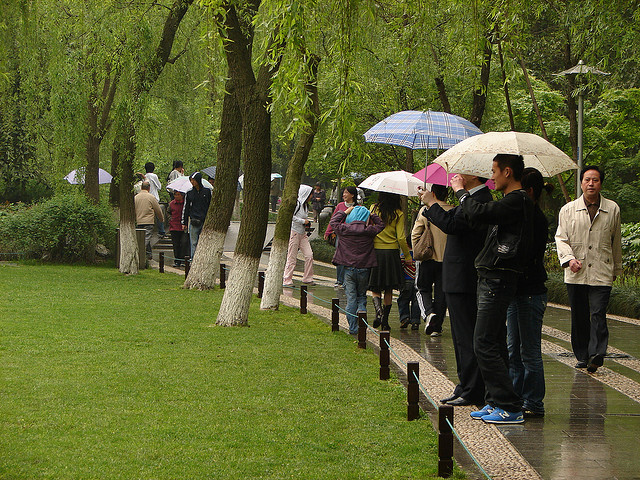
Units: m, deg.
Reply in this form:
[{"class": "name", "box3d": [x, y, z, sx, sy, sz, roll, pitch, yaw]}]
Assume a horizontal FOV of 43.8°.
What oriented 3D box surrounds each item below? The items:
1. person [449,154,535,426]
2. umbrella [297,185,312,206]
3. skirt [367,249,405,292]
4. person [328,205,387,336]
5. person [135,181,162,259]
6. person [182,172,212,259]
[{"class": "person", "box3d": [1.931, 0.522, 8.581, 0.947, 2.809, 0.650, 6, 0, -22]}, {"class": "umbrella", "box3d": [-0.370, -1.005, 17.922, 0.410, 0.431, 0.313, 6, 6, 35]}, {"class": "skirt", "box3d": [1.042, 0.432, 12.547, 0.724, 0.830, 0.539, -1, 7, -1]}, {"class": "person", "box3d": [0.581, 0.445, 12.229, 0.848, 1.910, 0.477, 0, -3, 1]}, {"class": "person", "box3d": [-4.762, -0.541, 21.573, 0.752, 2.169, 0.689, 4, 3, 7]}, {"class": "person", "box3d": [-3.163, -0.608, 19.628, 0.583, 2.105, 1.087, 6, 0, -28]}]
